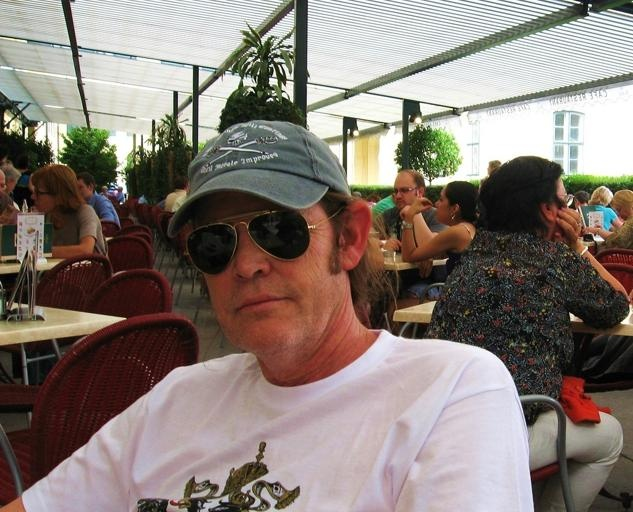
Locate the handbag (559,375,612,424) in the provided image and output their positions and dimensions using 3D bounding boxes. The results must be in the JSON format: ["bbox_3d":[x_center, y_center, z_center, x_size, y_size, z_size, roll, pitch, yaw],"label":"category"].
[{"bbox_3d":[0.985,0.546,2.154,0.139,0.058,0.177,-19,28,-37],"label":"handbag"}]

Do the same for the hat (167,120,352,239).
[{"bbox_3d":[-0.128,-0.199,1.349,0.353,0.247,0.490,-6,-4,5],"label":"hat"}]

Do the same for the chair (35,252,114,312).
[{"bbox_3d":[-1.437,0.163,3.447,0.226,0.399,0.261,-7,26,-39],"label":"chair"}]

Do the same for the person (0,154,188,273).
[{"bbox_3d":[-1.965,-0.425,5.016,0.982,1.414,0.954,-8,-9,6],"label":"person"}]
